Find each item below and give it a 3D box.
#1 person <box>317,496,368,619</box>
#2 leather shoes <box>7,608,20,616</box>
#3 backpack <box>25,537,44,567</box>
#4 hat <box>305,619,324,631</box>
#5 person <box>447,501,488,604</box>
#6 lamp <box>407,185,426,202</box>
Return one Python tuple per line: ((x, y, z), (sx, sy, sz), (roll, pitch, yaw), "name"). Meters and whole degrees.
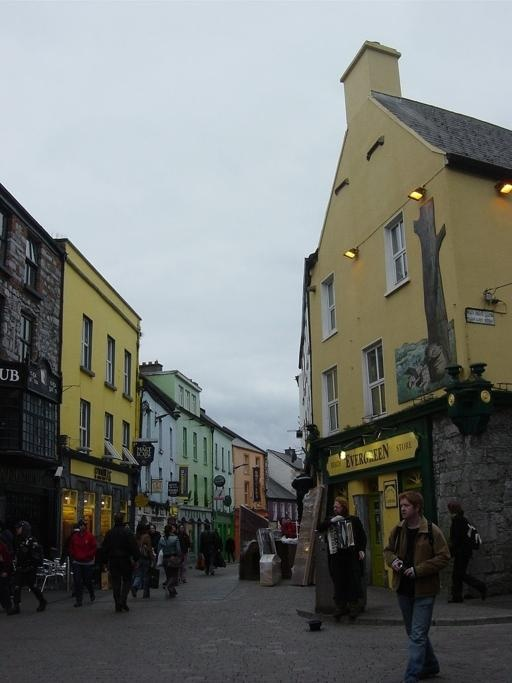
((1.193, 2.952, 9.670), (0.613, 1.585, 0.922), (-2, -14, 4), "person")
((-4.017, 4.501, 11.819), (0.183, 0.105, 0.329), (4, -17, -20), "leather shoes")
((-3.950, 3.762, 12.681), (0.224, 0.512, 0.434), (-1, -14, -2), "backpack")
((0.720, 3.460, 8.659), (0.164, 0.119, 0.349), (-3, -16, 4), "hat")
((3.174, 3.204, 10.843), (0.508, 1.480, 0.357), (-5, -14, 15), "person")
((3.238, -2.999, 14.205), (0.347, 0.202, 0.214), (-38, -55, -7), "lamp")
